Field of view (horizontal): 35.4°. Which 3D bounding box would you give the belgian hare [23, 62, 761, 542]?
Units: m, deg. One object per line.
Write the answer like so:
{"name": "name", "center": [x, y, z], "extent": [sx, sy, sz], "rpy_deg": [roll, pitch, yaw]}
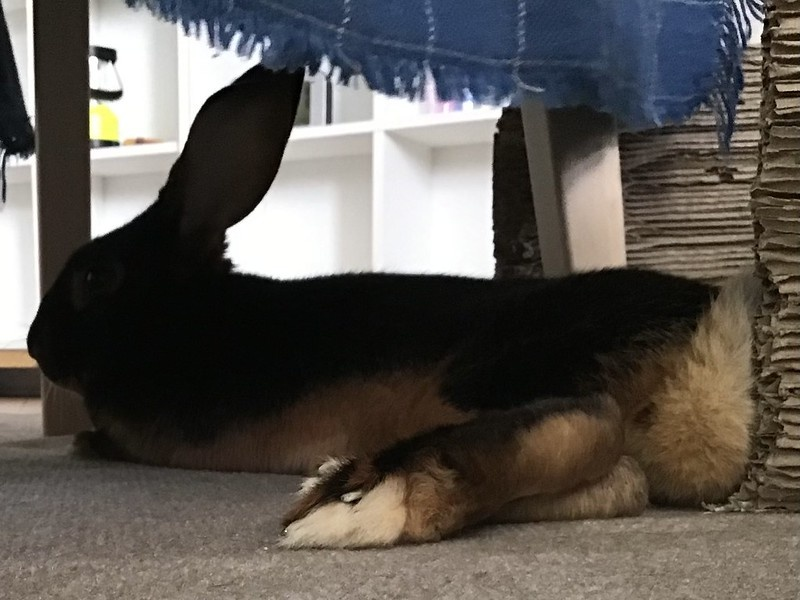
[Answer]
{"name": "belgian hare", "center": [0.000, -0.001, 1.615], "extent": [0.876, 0.510, 0.445], "rpy_deg": [7, 2, 2]}
